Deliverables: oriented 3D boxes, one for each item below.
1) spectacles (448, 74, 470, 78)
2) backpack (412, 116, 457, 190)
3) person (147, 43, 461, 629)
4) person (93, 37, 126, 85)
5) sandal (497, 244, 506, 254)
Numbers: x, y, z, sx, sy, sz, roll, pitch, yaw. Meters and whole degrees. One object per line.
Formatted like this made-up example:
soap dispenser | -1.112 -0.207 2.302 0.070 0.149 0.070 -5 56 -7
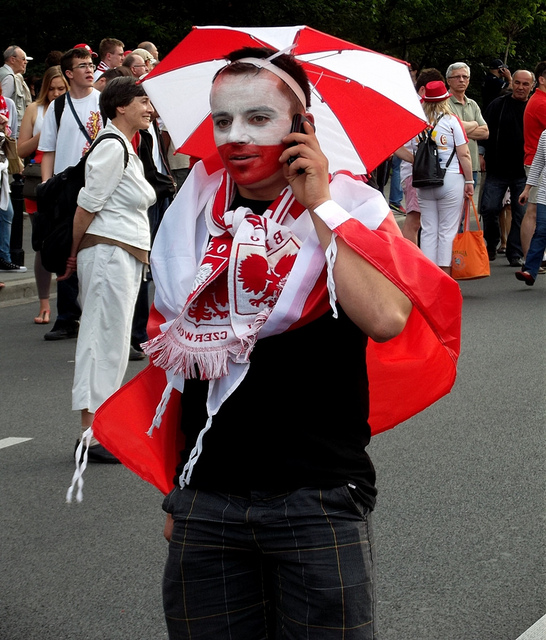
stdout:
spectacles | 2.625 -3.353 9.720 0.246 0.046 0.101 -4 10 -12
backpack | 1.842 -1.893 8.069 0.553 0.784 0.471 -2 1 -28
person | 0.034 0.008 1.302 0.618 1.069 0.547 0 11 13
person | -2.292 -3.494 9.618 0.468 0.649 0.811 5 33 -4
sandal | 3.907 -1.168 11.870 0.136 0.146 0.226 0 10 8
